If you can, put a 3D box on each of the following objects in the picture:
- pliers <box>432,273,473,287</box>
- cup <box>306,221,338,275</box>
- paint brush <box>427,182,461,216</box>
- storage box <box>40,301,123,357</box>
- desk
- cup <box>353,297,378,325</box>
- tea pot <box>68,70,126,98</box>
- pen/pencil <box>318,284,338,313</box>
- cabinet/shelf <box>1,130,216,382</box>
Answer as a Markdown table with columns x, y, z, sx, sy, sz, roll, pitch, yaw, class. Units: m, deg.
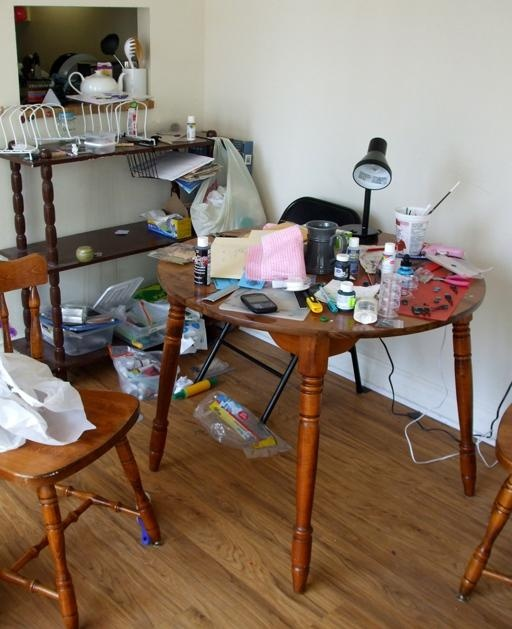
| x | y | z | sx | sy | sz | roll | pitch | yaw | class |
| --- | --- | --- | --- | --- | --- | --- | --- | --- | --- |
| 0.609 | -0.111 | 1.656 | 0.122 | 0.026 | 0.042 | 12 | 24 | 28 | pliers |
| 0.198 | -0.196 | 1.603 | 0.119 | 0.146 | 0.163 | -1 | 23 | -2 | cup |
| 0.717 | -0.429 | 2.024 | 0.101 | 0.148 | 0.228 | 7 | 24 | 18 | paint brush |
| -0.829 | 0.047 | 2.525 | 0.315 | 0.119 | 0.275 | 17 | 23 | 40 | storage box |
| 0.296 | 0.281 | 1.894 | 1.083 | 0.742 | 1.041 | -20 | 36 | -37 | desk |
| 0.279 | -0.011 | 1.358 | 0.073 | 0.058 | 0.113 | 4 | 14 | 5 | cup |
| -0.746 | -1.073 | 2.532 | 0.252 | 0.119 | 0.153 | 4 | 38 | -5 | tea pot |
| 0.192 | -0.042 | 1.427 | 0.030 | 0.021 | 0.100 | -28 | 23 | 3 | pen/pencil |
| -0.661 | -0.267 | 2.347 | 0.378 | 0.894 | 1.155 | 25 | 36 | 36 | cabinet/shelf |
